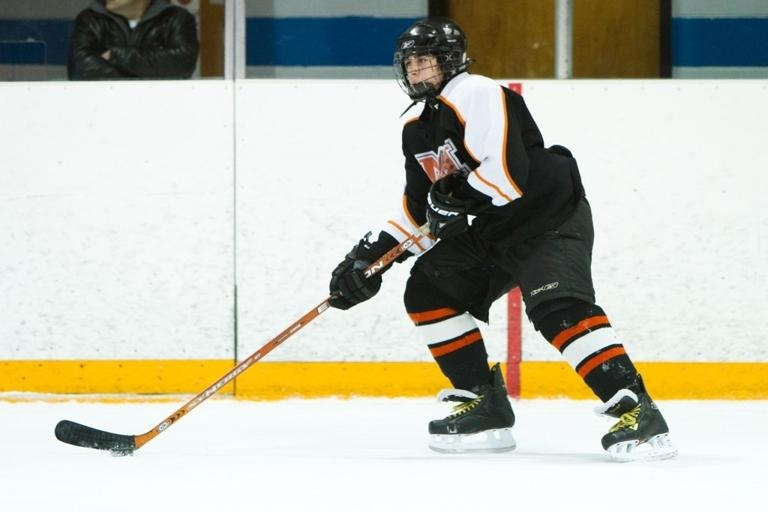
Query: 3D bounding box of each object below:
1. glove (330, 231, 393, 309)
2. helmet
[{"bbox_3d":[-0.120,0.072,5.031,0.374,0.114,0.262,-35,29,19],"label":"glove"},{"bbox_3d":[0.213,-0.887,4.966,0.392,0.348,0.310,-6,-5,-30],"label":"helmet"}]
